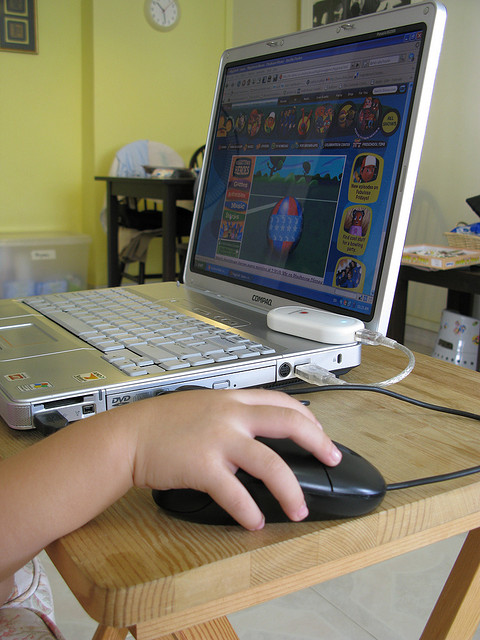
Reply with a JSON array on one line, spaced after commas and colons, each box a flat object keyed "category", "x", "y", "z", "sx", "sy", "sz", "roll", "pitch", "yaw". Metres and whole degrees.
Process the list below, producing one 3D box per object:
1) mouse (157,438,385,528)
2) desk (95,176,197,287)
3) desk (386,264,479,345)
[{"category": "mouse", "x": 0.016, "y": 0.073, "z": 0.258, "sx": 0.104, "sy": 0.031, "sz": 0.052, "roll": -11, "pitch": 22, "yaw": -17}, {"category": "desk", "x": -0.439, "y": -0.513, "z": 2.711, "sx": 0.497, "sy": 0.410, "sz": 0.450, "roll": 1, "pitch": 6, "yaw": 15}, {"category": "desk", "x": 0.799, "y": -0.063, "z": 2.070, "sx": 0.298, "sy": 0.273, "sz": 0.293, "roll": 5, "pitch": 14, "yaw": -27}]
